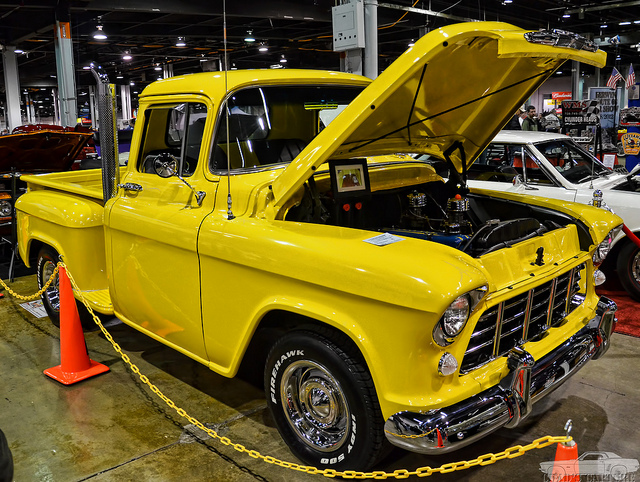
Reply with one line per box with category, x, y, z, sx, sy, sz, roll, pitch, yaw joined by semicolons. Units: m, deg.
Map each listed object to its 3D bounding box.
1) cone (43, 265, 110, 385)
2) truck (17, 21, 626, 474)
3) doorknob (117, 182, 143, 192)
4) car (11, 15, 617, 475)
cone;-2.287;0.727;4.178;0.446;1.049;0.395;11;17;36
truck;-0.723;-0.185;4.418;5.630;2.018;2.996;8;16;36
doorknob;-1.638;-0.467;3.948;0.141;0.031;0.133;6;2;20
car;-0.615;-0.339;4.343;5.615;2.004;2.978;8;16;36
